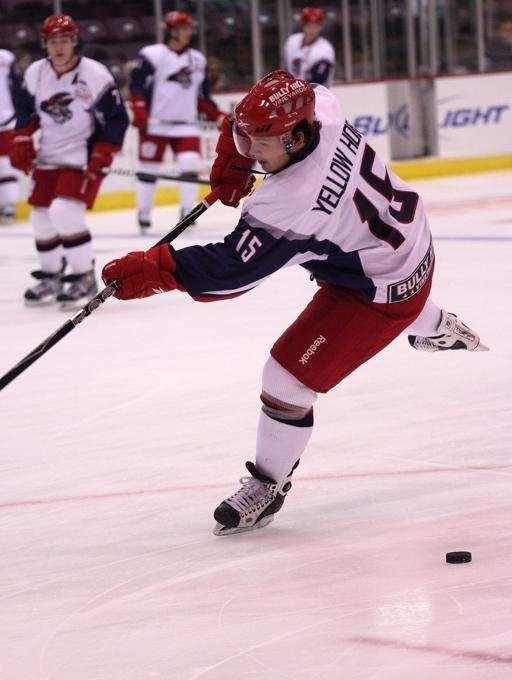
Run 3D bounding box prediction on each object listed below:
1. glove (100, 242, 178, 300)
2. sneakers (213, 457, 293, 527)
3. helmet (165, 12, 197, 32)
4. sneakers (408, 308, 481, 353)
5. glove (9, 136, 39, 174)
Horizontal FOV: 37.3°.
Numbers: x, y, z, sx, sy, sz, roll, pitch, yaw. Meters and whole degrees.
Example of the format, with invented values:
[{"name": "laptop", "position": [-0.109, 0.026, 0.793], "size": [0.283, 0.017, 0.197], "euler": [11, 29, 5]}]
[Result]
[{"name": "glove", "position": [-0.247, -0.142, 1.609], "size": [0.155, 0.114, 0.108], "euler": [-8, 11, -10]}, {"name": "sneakers", "position": [-0.003, 0.365, 1.840], "size": [0.082, 0.103, 0.256], "euler": [42, 33, 17]}, {"name": "helmet", "position": [-0.704, -2.889, 6.816], "size": [0.230, 0.175, 0.170], "euler": [-7, 11, -8]}, {"name": "sneakers", "position": [0.624, -0.021, 2.362], "size": [0.300, 0.089, 0.123], "euler": [3, 4, -33]}, {"name": "glove", "position": [-1.228, -0.996, 4.107], "size": [0.186, 0.183, 0.090], "euler": [2, 5, 36]}]
